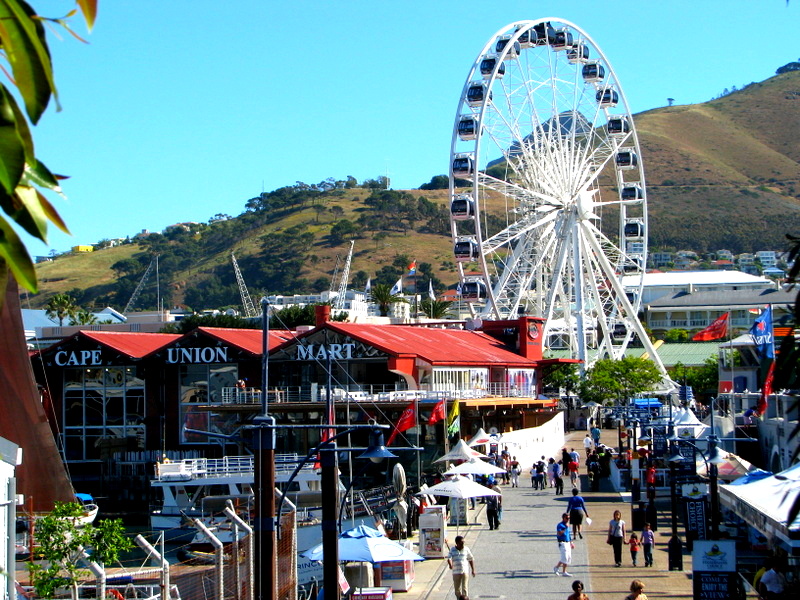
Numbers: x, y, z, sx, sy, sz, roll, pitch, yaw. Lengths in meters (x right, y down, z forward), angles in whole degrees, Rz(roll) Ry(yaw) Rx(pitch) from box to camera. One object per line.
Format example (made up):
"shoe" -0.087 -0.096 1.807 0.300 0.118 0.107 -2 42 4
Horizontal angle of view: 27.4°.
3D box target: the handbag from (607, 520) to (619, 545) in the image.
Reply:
"handbag" 8.481 9.085 64.321 0.517 0.945 0.430 -6 -7 20

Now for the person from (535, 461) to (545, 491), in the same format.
"person" 7.153 8.848 82.950 0.483 1.496 1.915 -4 -7 4

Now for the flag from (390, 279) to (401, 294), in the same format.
"flag" -0.444 -1.884 201.753 1.961 1.216 6.938 18 1 -1

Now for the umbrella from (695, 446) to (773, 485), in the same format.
"umbrella" 13.914 7.158 69.085 2.455 1.374 3.470 -1 -8 17

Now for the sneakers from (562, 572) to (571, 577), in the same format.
"sneakers" 6.498 10.626 63.158 0.252 0.174 0.135 -4 -2 12

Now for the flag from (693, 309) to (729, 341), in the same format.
"flag" 26.968 1.918 141.655 4.293 0.713 4.977 2 -34 10

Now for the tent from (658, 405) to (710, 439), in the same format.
"tent" 14.428 6.238 82.108 2.197 1.566 2.295 -3 -8 16

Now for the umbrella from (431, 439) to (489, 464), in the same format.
"umbrella" 2.987 7.426 80.425 1.729 0.837 1.820 -3 -9 10

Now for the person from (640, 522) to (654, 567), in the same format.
"person" 9.809 9.777 64.582 0.436 1.488 0.999 -4 -7 6
